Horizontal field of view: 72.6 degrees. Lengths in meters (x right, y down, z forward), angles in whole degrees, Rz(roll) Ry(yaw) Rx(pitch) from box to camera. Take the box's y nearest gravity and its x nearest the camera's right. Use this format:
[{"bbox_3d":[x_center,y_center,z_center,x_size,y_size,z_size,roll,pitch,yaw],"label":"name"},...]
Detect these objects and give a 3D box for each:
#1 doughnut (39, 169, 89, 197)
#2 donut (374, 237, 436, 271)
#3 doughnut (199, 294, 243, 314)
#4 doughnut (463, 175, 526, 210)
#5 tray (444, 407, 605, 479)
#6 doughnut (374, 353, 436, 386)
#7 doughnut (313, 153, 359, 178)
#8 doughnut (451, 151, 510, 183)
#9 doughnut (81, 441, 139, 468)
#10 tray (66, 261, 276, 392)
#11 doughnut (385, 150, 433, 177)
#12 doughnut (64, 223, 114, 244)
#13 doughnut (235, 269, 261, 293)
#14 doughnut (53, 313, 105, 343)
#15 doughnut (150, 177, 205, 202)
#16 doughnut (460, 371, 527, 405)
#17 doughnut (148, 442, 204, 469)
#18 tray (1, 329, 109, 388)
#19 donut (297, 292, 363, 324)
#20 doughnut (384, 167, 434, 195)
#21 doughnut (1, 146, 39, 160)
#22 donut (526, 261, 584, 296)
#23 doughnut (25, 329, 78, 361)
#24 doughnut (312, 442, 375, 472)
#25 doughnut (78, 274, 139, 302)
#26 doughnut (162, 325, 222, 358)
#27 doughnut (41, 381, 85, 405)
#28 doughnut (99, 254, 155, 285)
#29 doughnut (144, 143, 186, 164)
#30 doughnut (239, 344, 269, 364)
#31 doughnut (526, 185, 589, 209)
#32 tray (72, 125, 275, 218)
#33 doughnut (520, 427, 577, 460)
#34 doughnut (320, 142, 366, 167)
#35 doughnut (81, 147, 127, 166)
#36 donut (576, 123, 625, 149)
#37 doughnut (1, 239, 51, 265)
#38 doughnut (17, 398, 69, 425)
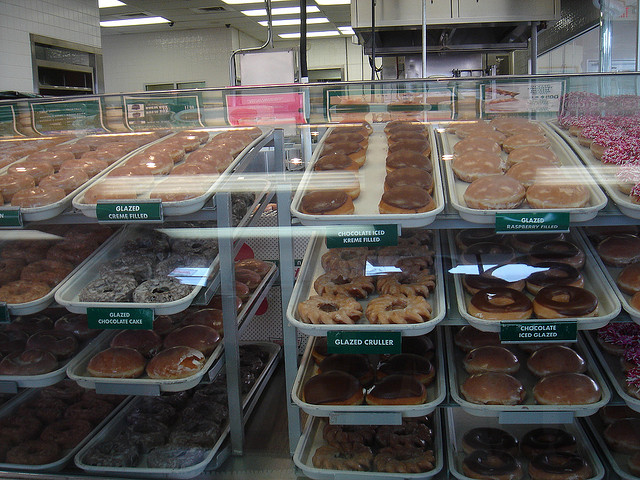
[{"bbox_3d":[-0.832,-0.203,1.440,0.128,0.028,0.101,-6,30,-3],"label":"doughnut"},{"bbox_3d":[0.281,0.042,1.436,0.156,0.037,0.136,12,37,24],"label":"donut"},{"bbox_3d":[-0.367,0.236,1.630,0.132,0.036,0.145,-1,13,-3],"label":"doughnut"},{"bbox_3d":[0.504,-0.136,1.265,0.140,0.054,0.122,1,25,18],"label":"doughnut"},{"bbox_3d":[0.642,0.639,1.370,0.283,0.030,0.234,0,14,4],"label":"tray"},{"bbox_3d":[0.280,0.428,1.445,0.193,0.061,0.223,-1,0,11],"label":"doughnut"},{"bbox_3d":[0.051,-0.251,1.421,0.120,0.026,0.094,-12,24,-13],"label":"doughnut"},{"bbox_3d":[0.492,-0.236,1.362,0.141,0.059,0.131,-18,24,-42],"label":"doughnut"},{"bbox_3d":[-0.710,0.727,1.492,0.197,0.037,0.104,0,17,8],"label":"doughnut"},{"bbox_3d":[-0.713,0.302,1.784,0.543,0.073,0.780,2,28,-16],"label":"tray"},{"bbox_3d":[0.289,-0.260,1.416,0.117,0.049,0.111,12,25,35],"label":"doughnut"},{"bbox_3d":[-0.866,-0.018,1.644,0.144,0.027,0.115,2,30,2],"label":"doughnut"},{"bbox_3d":[-0.310,0.171,1.926,0.117,0.042,0.106,6,9,30],"label":"doughnut"},{"bbox_3d":[-0.895,0.315,1.642,0.163,0.040,0.157,8,10,36],"label":"doughnut"},{"bbox_3d":[-0.445,-0.161,1.360,0.121,0.020,0.093,1,23,7],"label":"doughnut"},{"bbox_3d":[0.553,0.462,1.372,0.210,0.065,0.108,-2,17,1],"label":"doughnut"},{"bbox_3d":[-0.485,0.721,1.473,0.184,0.038,0.090,-3,17,-3],"label":"doughnut"},{"bbox_3d":[-0.949,0.415,1.545,0.246,0.038,0.329,-1,10,0],"label":"tray"},{"bbox_3d":[0.022,0.220,1.382,0.216,0.056,0.220,-4,6,-21],"label":"donut"},{"bbox_3d":[0.281,-0.194,1.353,0.123,0.046,0.106,6,21,20],"label":"doughnut"},{"bbox_3d":[-1.056,-0.314,1.536,0.090,0.017,0.070,-2,28,-3],"label":"doughnut"},{"bbox_3d":[0.733,0.116,1.373,0.156,0.041,0.130,-1,23,14],"label":"donut"},{"bbox_3d":[-0.969,0.375,1.598,0.147,0.039,0.136,12,26,29],"label":"doughnut"},{"bbox_3d":[0.076,0.685,1.391,0.123,0.029,0.081,1,7,7],"label":"doughnut"},{"bbox_3d":[-0.703,0.160,1.476,0.200,0.060,0.127,1,17,13],"label":"doughnut"},{"bbox_3d":[-0.467,0.356,1.620,0.153,0.058,0.134,2,6,21],"label":"doughnut"},{"bbox_3d":[-1.021,0.603,1.760,0.167,0.043,0.161,-3,11,-29],"label":"doughnut"},{"bbox_3d":[-0.694,0.099,1.581,0.205,0.038,0.159,4,11,-1],"label":"doughnut"},{"bbox_3d":[-0.525,-0.309,1.489,0.108,0.036,0.089,4,26,9],"label":"doughnut"},{"bbox_3d":[-0.317,0.533,2.129,0.119,0.031,0.128,1,4,-2],"label":"doughnut"},{"bbox_3d":[0.678,-0.129,1.254,0.159,0.061,0.081,2,19,16],"label":"doughnut"},{"bbox_3d":[-0.395,-0.250,1.354,0.372,0.049,0.537,6,30,16],"label":"tray"},{"bbox_3d":[0.721,0.638,1.394,0.133,0.033,0.119,-2,7,15],"label":"doughnut"},{"bbox_3d":[0.085,-0.297,1.466,0.131,0.050,0.108,-6,16,-4],"label":"doughnut"},{"bbox_3d":[-0.751,-0.304,1.526,0.104,0.021,0.095,8,21,27],"label":"doughnut"},{"bbox_3d":[0.897,-0.333,1.384,0.100,0.021,0.092,11,40,38],"label":"donut"},{"bbox_3d":[-1.051,0.039,1.567,0.136,0.029,0.111,1,17,4],"label":"doughnut"},{"bbox_3d":[-1.071,0.656,1.691,0.113,0.024,0.101,-3,8,-27],"label":"doughnut"}]
